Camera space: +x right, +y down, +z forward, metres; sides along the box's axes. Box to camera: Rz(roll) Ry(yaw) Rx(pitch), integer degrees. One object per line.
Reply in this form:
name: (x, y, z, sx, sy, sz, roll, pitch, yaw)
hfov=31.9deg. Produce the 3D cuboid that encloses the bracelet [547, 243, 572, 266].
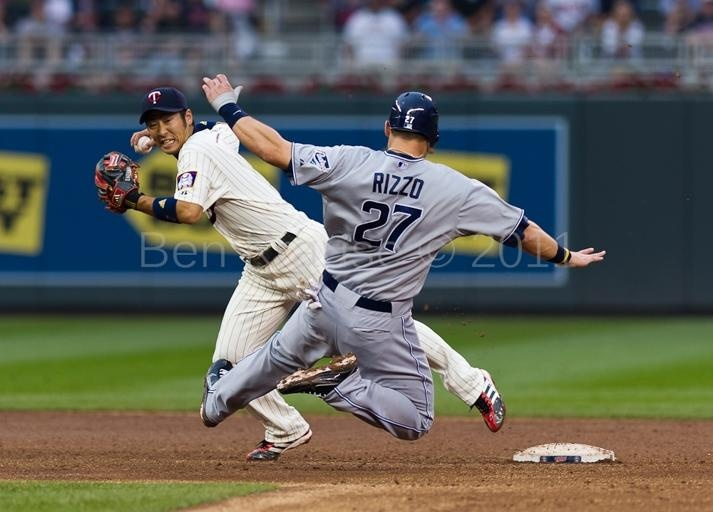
bracelet: (1.595, -0.025, 9.900, 0.187, 0.080, 0.141, -3, -35, 44)

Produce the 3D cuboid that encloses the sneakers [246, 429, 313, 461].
sneakers: (-0.707, 1.609, 10.634, 0.679, 0.251, 0.213, -10, 7, -11)

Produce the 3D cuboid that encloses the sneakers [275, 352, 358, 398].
sneakers: (-0.242, 0.962, 9.946, 0.717, 0.259, 0.238, -11, 0, 20)

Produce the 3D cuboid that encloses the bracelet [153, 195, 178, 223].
bracelet: (-1.571, -0.381, 10.087, 0.174, 0.199, 0.232, -5, 11, -26)

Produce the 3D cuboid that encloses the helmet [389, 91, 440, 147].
helmet: (0.459, -1.115, 9.850, 0.371, 0.360, 0.430, 10, 22, 10)

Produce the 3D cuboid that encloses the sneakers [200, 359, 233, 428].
sneakers: (-1.191, 1.160, 10.180, 0.284, 0.579, 0.204, 12, 23, -9)

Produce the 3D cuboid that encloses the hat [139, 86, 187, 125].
hat: (-1.571, -1.284, 10.361, 0.280, 0.174, 0.369, -10, 2, 24)

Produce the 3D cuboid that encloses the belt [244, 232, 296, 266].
belt: (-0.707, -0.043, 10.237, 0.311, 0.077, 0.306, -30, 9, 36)

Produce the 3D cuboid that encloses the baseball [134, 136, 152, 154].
baseball: (-1.826, -0.966, 10.591, 0.064, 0.106, 0.105, 18, 40, -20)
